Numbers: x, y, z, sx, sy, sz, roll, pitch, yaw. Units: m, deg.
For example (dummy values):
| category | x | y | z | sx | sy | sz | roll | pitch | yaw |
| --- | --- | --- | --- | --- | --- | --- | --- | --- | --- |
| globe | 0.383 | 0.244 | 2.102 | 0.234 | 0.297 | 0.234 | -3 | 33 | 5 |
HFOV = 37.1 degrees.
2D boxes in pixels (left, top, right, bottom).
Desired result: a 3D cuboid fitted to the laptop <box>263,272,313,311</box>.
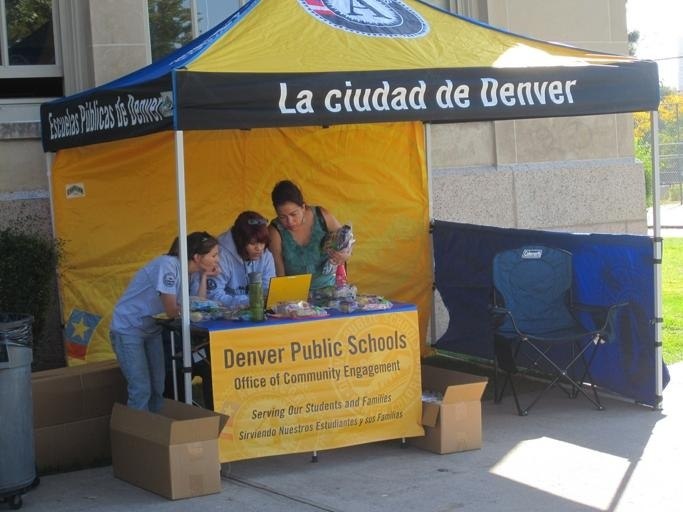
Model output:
| category | x | y | z | sx | sy | sz | roll | pitch | yaw |
| --- | --- | --- | --- | --- | --- | --- | --- | --- | --- |
| laptop | -0.352 | 0.329 | 7.794 | 0.367 | 0.253 | 0.274 | -1 | 28 | -23 |

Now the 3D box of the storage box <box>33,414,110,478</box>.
| category | x | y | z | sx | sy | sz | roll | pitch | yaw |
| --- | --- | --- | --- | --- | --- | --- | --- | --- | --- |
| storage box | -2.089 | 1.470 | 7.887 | 0.433 | 0.283 | 0.417 | -1 | -6 | -38 |

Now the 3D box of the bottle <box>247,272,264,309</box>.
| category | x | y | z | sx | sy | sz | roll | pitch | yaw |
| --- | --- | --- | --- | --- | --- | --- | --- | --- | --- |
| bottle | -0.649 | 0.270 | 7.764 | 0.108 | 0.305 | 0.263 | -3 | 7 | -6 |

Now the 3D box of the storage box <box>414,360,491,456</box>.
| category | x | y | z | sx | sy | sz | roll | pitch | yaw |
| --- | --- | --- | --- | --- | --- | --- | --- | --- | --- |
| storage box | 0.832 | 1.209 | 8.108 | 0.554 | 0.497 | 0.602 | 0 | 2 | -36 |

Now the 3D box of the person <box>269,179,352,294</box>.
| category | x | y | z | sx | sy | sz | roll | pitch | yaw |
| --- | --- | --- | --- | --- | --- | --- | --- | --- | --- |
| person | -0.343 | -0.208 | 9.376 | 0.629 | 0.974 | 0.505 | -3 | 7 | -2 |

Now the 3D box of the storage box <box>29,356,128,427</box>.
| category | x | y | z | sx | sy | sz | roll | pitch | yaw |
| --- | --- | --- | --- | --- | --- | --- | --- | --- | --- |
| storage box | -2.045 | 1.068 | 7.936 | 0.708 | 0.419 | 0.482 | -6 | 6 | -35 |

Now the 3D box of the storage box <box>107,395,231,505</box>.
| category | x | y | z | sx | sy | sz | roll | pitch | yaw |
| --- | --- | --- | --- | --- | --- | --- | --- | --- | --- |
| storage box | -1.316 | 1.441 | 7.631 | 0.491 | 0.553 | 0.823 | 0 | 1 | -44 |

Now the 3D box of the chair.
| category | x | y | z | sx | sy | sz | roll | pitch | yaw |
| --- | --- | --- | --- | --- | --- | --- | --- | --- | --- |
| chair | 1.721 | 0.619 | 8.724 | 1.093 | 1.407 | 0.901 | -3 | -1 | -12 |
